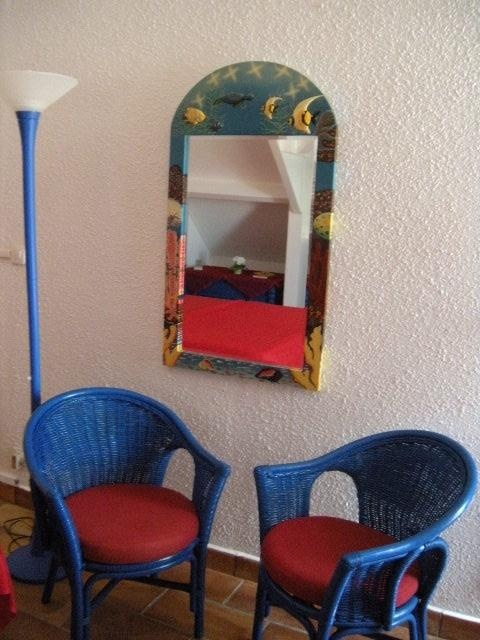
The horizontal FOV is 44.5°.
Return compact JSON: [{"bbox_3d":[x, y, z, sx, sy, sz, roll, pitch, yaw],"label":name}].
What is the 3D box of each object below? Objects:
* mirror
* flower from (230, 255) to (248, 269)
[{"bbox_3d":[0.009,-0.318,1.947,0.668,1.011,0.015,7,12,29],"label":"mirror"},{"bbox_3d":[-0.006,-0.189,1.975,0.048,0.031,0.043,-6,47,4],"label":"flower"}]
